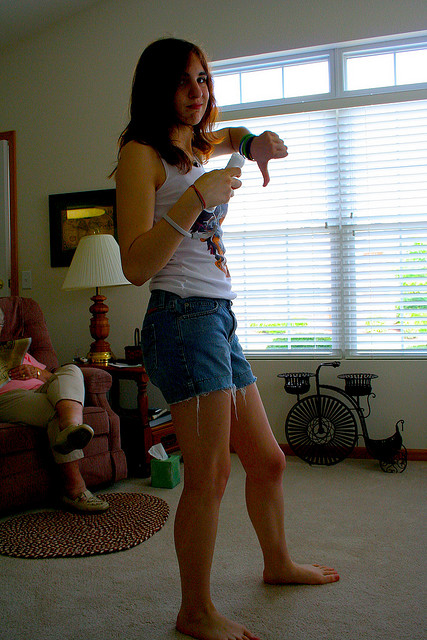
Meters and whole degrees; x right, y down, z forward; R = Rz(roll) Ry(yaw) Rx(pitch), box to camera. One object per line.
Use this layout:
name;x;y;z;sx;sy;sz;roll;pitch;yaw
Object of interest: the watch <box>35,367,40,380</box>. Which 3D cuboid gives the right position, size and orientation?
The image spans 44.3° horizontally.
watch;-0.850;0.259;2.521;0.019;0.053;0.042;-1;-3;-27
